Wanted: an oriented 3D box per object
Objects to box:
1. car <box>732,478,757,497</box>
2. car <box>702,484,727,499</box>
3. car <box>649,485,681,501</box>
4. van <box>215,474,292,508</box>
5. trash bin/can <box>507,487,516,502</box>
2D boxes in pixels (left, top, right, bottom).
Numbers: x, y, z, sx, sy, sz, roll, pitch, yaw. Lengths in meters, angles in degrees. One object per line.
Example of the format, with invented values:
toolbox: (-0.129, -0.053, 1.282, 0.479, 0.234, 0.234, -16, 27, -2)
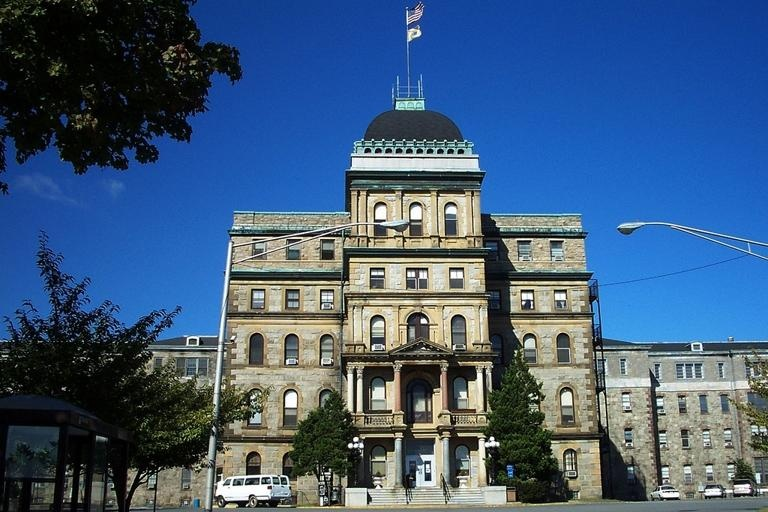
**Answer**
car: (36.331, 23.406, 83.833, 1.483, 1.184, 2.476, -4, -9, 25)
car: (33.619, 23.977, 84.530, 1.390, 0.872, 2.631, -6, -12, 25)
car: (27.405, 23.291, 81.723, 1.507, 0.981, 3.099, 0, -13, 0)
van: (-9.363, 16.986, 59.593, 4.618, 1.845, 2.430, -3, -37, 13)
trash bin/can: (8.922, 16.834, 58.468, 0.776, 1.032, 0.777, -4, -5, 20)
